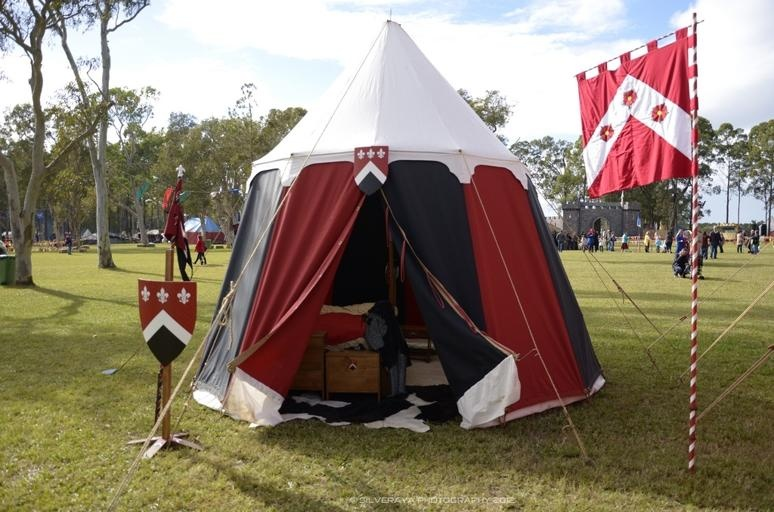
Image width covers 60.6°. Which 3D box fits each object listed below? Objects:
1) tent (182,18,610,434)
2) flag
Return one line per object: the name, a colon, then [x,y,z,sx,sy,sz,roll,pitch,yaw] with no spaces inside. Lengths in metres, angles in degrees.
tent: [-0.369,-0.129,12.382,6.370,6.028,6.272,1,-2,-12]
flag: [3.502,-2.006,9.393,1.515,2.236,0.256,2,2,36]
